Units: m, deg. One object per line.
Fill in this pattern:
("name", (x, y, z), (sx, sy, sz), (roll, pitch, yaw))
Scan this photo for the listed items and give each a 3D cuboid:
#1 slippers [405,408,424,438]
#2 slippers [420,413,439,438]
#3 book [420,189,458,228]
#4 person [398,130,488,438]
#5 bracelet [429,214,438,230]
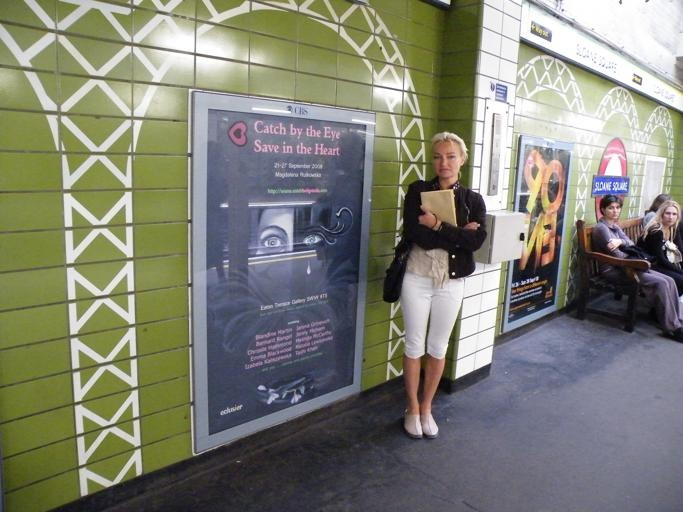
("slippers", (0.560, 1.308, 3.693), (0.097, 0.089, 0.202), (-3, 15, -7))
("slippers", (0.684, 1.319, 3.697), (0.087, 0.085, 0.195), (-3, 11, -3))
("book", (0.686, -0.343, 3.343), (0.243, 0.253, 0.156), (2, 11, 12))
("person", (0.764, 0.234, 3.605), (0.607, 2.288, 0.418), (0, 11, 4))
("bracelet", (0.659, -0.239, 3.378), (0.058, 0.089, 0.031), (-4, -4, -10))
